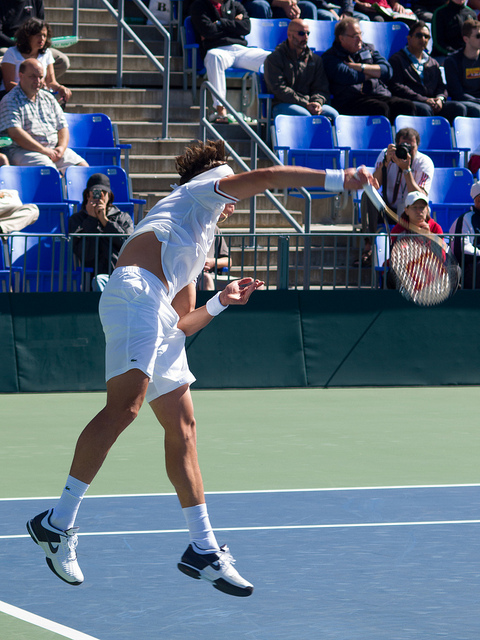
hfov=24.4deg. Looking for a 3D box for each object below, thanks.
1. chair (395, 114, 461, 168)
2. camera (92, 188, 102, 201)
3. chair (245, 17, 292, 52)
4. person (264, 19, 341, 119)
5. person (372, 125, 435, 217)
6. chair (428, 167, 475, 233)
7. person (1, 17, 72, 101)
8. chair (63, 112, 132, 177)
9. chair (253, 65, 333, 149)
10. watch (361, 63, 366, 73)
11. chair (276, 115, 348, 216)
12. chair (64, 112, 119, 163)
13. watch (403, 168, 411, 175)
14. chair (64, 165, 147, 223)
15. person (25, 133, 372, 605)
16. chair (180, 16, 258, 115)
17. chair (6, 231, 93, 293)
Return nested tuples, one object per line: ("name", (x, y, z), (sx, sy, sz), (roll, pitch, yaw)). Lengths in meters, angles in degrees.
("chair", (2.186, -2.080, 12.838), (0.749, 0.627, 0.696), (3, 6, 13))
("camera", (-1.211, -1.078, 9.493), (0.062, 0.091, 0.031), (2, 0, 3))
("chair", (0.366, -3.671, 14.336), (0.515, 0.640, 0.503), (1, -4, -14))
("person", (0.722, -2.881, 12.833), (0.856, 1.065, 0.611), (2, 6, -3))
("person", (1.558, -1.376, 10.573), (0.541, 0.886, 0.521), (16, 9, 32))
("chair", (2.224, -1.276, 11.643), (0.446, 0.654, 0.753), (3, 6, 12))
("person", (-2.222, -2.757, 11.841), (0.738, 1.059, 0.969), (-6, 11, -35))
("chair", (-1.518, -1.860, 11.855), (0.643, 0.952, 0.685), (-1, 4, -9))
("chair", (0.669, -2.529, 13.359), (0.907, 1.286, 0.961), (-2, 5, -40))
("watch", (1.474, -2.987, 13.132), (0.061, 0.091, 0.096), (3, -10, 9))
("chair", (0.792, -1.626, 12.030), (0.924, 1.214, 1.024), (0, 11, 17))
("chair", (-1.522, -1.955, 11.728), (0.531, 0.793, 0.564), (-1, -4, -10))
("watch", (1.587, -1.398, 10.480), (0.060, 0.035, 0.046), (-21, 8, -36))
("chair", (-1.318, -1.389, 10.687), (0.514, 0.695, 0.532), (-19, 6, 21))
("person", (-0.077, 0.086, 4.537), (1.393, 2.093, 0.708), (-14, -33, 27))
("chair", (-0.293, -3.142, 13.729), (1.138, 1.143, 0.981), (3, 6, 10))
("chair", (-1.589, -0.492, 9.316), (0.503, 0.486, 0.215), (1, 2, -17))
